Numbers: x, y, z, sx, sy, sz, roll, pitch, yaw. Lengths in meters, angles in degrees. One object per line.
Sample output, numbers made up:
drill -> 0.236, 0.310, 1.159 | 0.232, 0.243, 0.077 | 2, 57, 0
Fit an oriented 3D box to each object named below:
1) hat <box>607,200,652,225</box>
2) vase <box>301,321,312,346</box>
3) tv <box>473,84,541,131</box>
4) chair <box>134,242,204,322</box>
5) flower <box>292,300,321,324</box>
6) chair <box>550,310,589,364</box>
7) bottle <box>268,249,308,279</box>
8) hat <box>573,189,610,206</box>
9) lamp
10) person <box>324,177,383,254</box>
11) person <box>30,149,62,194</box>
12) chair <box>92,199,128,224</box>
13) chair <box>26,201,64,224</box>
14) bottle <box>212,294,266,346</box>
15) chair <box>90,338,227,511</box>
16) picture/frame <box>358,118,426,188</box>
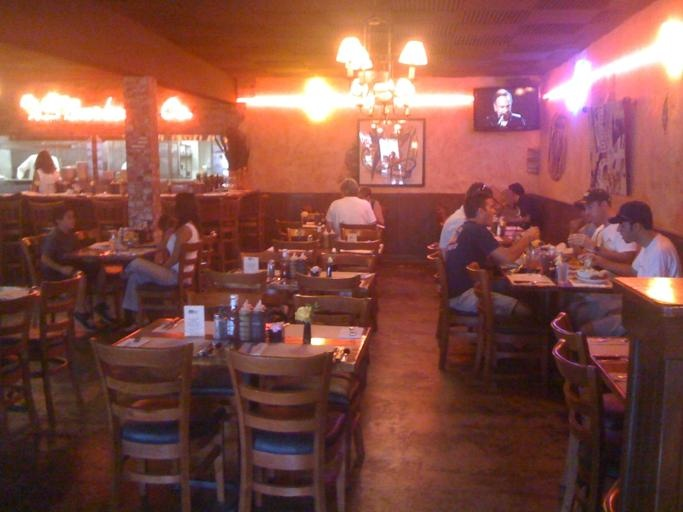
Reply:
hat -> 2.377, -0.359, 4.780 | 0.256, 0.155, 0.181 | 9, 14, 25
vase -> -0.228, 0.503, 3.874 | 0.052, 0.136, 0.136 | -2, 9, -6
tv -> 2.943, -2.618, 10.274 | 0.828, 0.615, 0.116 | 1, 2, 22
chair -> -1.959, 0.323, 6.689 | 0.742, 0.960, 0.618 | -3, 9, -11
flower -> -0.256, 0.410, 4.024 | 0.163, 0.087, 0.168 | -6, 9, 6
chair -> 1.328, 0.460, 3.414 | 0.214, 0.335, 0.258 | -2, 14, 12
bottle -> -0.535, 0.072, 5.796 | 0.308, 0.236, 0.317 | 1, 1, 0
hat -> 2.649, -0.618, 6.112 | 0.262, 0.141, 0.184 | 3, 6, 17
lamp -> 0.579, -2.583, 7.767 | 1.287, 1.335, 1.095 | -9, 19, -26
person -> 0.169, -0.459, 8.469 | 0.608, 1.284, 0.669 | 1, 7, 23
person -> -5.339, -1.536, 10.564 | 0.433, 0.774, 0.844 | -5, 10, -28
chair -> -3.550, -0.676, 9.041 | 0.493, 0.595, 0.516 | -1, 4, -9
chair -> -4.207, -0.617, 8.313 | 0.423, 0.556, 0.373 | -1, 1, -14
bottle -> -0.669, 0.423, 3.930 | 0.304, 0.319, 0.322 | 0, 4, 4
chair -> -1.118, 1.026, 3.717 | 0.732, 1.158, 0.723 | -2, 8, -7
picture/frame -> 0.986, -2.001, 10.953 | 1.531, 1.501, 0.116 | 1, 12, 3
